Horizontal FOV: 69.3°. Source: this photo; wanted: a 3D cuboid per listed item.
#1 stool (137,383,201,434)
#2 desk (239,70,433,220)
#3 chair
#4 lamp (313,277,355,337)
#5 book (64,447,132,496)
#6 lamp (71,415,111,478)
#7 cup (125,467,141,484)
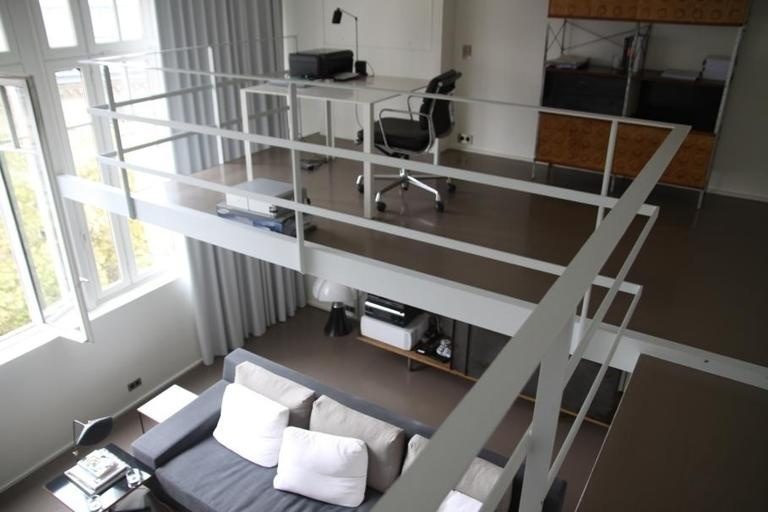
[{"bbox_3d":[-2.303,1.640,5.911,0.329,0.323,0.325,27,41,25],"label":"stool"},{"bbox_3d":[-0.450,-1.477,5.361,1.636,1.276,1.638,13,26,29],"label":"desk"},{"bbox_3d":[0.262,-1.164,5.454,1.004,1.204,0.956,-5,24,-16],"label":"chair"},{"bbox_3d":[-0.612,0.660,6.985,0.521,0.748,0.519,-11,28,-21],"label":"lamp"},{"bbox_3d":[-2.684,1.955,5.169,0.381,0.090,0.373,23,39,29],"label":"book"},{"bbox_3d":[-2.776,1.774,5.266,0.394,0.587,0.284,-2,12,-3],"label":"lamp"},{"bbox_3d":[-2.336,2.060,5.209,0.102,0.111,0.126,-3,16,-5],"label":"cup"}]
